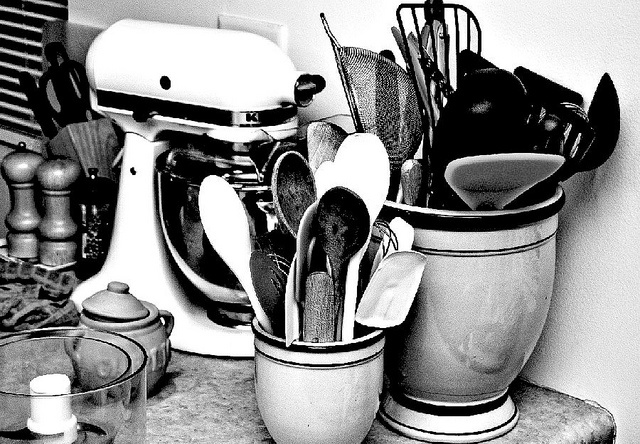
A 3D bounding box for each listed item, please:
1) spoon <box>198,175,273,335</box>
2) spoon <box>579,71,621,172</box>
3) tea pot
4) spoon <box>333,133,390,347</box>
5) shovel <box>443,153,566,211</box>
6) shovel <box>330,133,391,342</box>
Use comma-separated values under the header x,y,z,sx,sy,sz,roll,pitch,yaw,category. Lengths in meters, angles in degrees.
x,y,z,sx,sy,sz,roll,pitch,yaw,category
-0.120,0.029,1.040,0.062,0.254,0.026,-18,-1,-20,spoon
0.361,-0.127,1.040,0.041,0.139,0.015,7,13,-3,spoon
-0.265,0.148,1.106,0.159,0.162,0.123,-1,8,-23,tea pot
0.050,0.018,0.987,0.063,0.266,0.031,8,-10,0,spoon
0.214,-0.054,0.959,0.077,0.033,0.081,-8,0,-7,shovel
0.046,0.025,0.999,0.067,0.260,0.031,5,-9,36,shovel
